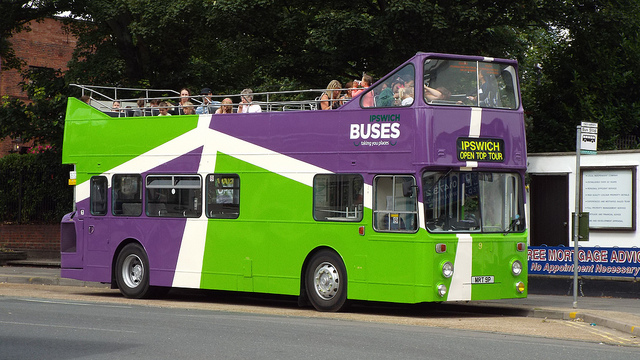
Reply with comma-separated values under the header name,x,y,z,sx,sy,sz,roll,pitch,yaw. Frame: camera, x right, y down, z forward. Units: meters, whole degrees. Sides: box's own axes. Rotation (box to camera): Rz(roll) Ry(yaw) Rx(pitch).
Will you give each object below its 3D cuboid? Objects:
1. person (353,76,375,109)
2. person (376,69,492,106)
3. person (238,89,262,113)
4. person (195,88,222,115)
name,x,y,z,sx,sy,sz,roll,pitch,yaw
person,1.333,-2.702,20.721,0.645,1.064,1.287,1,3,2
person,3.582,-2.754,20.055,3.275,1.201,0.912,-1,4,-16
person,-2.396,-2.410,22.718,0.709,1.342,1.376,0,-1,-12
person,-3.884,-2.662,23.016,0.680,0.635,1.264,0,2,-21
